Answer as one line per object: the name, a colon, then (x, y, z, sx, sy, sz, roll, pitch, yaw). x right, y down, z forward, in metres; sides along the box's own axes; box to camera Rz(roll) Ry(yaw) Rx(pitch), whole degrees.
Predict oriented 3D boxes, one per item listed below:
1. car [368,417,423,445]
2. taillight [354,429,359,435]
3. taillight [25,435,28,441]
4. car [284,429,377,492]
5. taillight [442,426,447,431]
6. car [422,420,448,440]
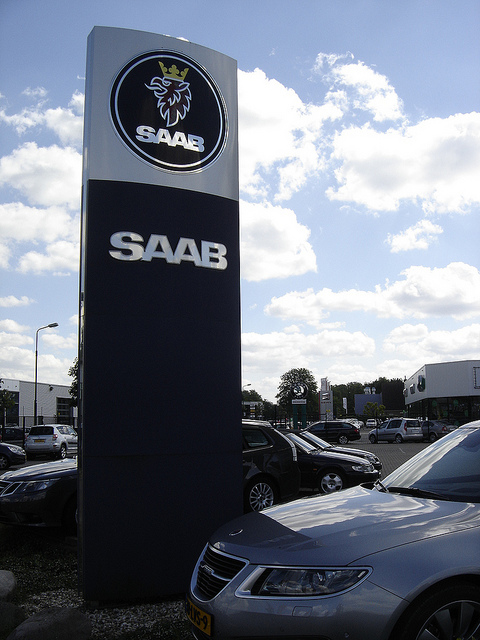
car: (9.338, 6.517, 34.266, 1.572, 1.237, 2.443, 5, -7, -38)
taillight: (6.609, 6.265, 32.699, 0.278, 0.298, 0.198, 9, -2, 32)
taillight: (-9.250, 5.161, 25.148, 0.132, 0.260, 0.136, 6, -9, -32)
car: (1.569, 2.542, 10.275, 1.764, 0.644, 0.776, -4, -6, 7)
taillight: (11.578, 6.133, 32.895, 0.152, 0.229, 0.071, -4, -19, -5)
car: (11.123, 6.320, 33.485, 0.833, 0.726, 1.501, 1, -1, -35)
